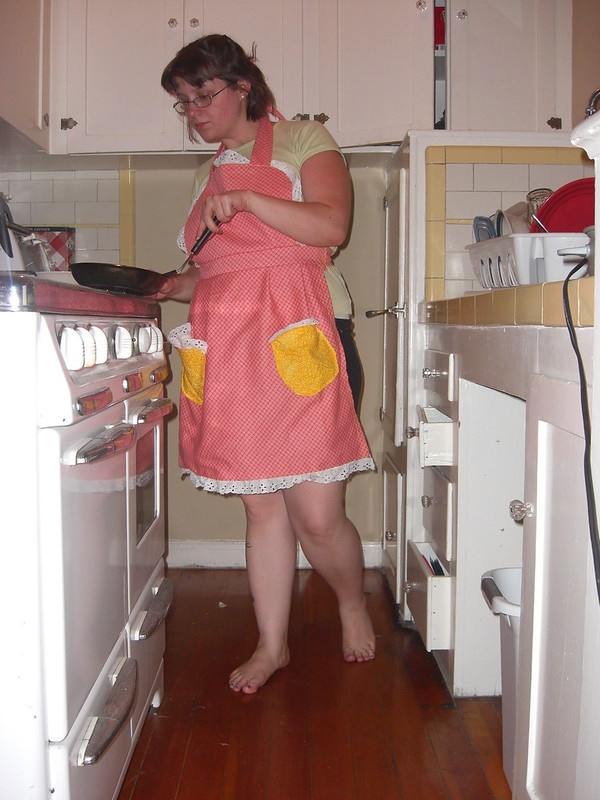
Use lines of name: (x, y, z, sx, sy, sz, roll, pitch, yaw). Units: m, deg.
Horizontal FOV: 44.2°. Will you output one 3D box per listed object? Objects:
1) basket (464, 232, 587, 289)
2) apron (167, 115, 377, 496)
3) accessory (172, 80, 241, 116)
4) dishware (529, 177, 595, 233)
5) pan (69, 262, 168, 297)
basket: (0.384, -0.235, 1.272, 0.210, 0.067, 0.208, -13, 15, -18)
apron: (-0.059, -0.090, 1.504, 0.422, 0.556, 0.257, 0, 6, 0)
accessory: (-0.193, -0.597, 1.455, 0.136, 0.053, 0.054, 3, 7, 24)
dishware: (0.483, -0.354, 1.353, 0.097, 0.090, 0.040, 3, 7, 26)
pan: (-0.311, -0.211, 1.316, 0.122, 0.029, 0.128, 2, 0, 25)
